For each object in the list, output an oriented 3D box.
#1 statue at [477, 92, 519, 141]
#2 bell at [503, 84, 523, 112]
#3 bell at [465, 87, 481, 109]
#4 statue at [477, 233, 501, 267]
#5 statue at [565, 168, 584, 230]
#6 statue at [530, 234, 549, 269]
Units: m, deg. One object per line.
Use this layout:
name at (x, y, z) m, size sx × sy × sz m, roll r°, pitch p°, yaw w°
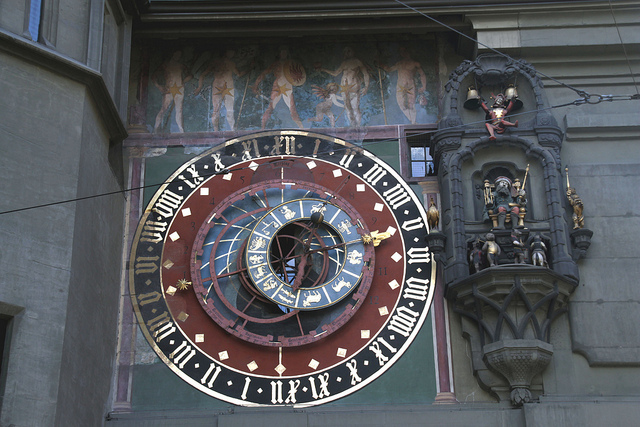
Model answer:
statue at (4.281, -2.393, 25.180) m, size 0.962 × 1.340 × 0.393 m, roll -4°, pitch -20°, yaw 9°
bell at (4.600, -2.843, 25.470) m, size 0.533 × 0.596 × 0.564 m, roll 3°, pitch -38°, yaw 1°
bell at (3.621, -2.844, 25.432) m, size 0.403 × 0.463 × 0.420 m, roll 1°, pitch -41°, yaw -2°
statue at (3.874, 0.846, 23.741) m, size 0.450 × 0.849 × 0.252 m, roll 2°, pitch -26°, yaw -9°
statue at (5.957, -0.288, 24.563) m, size 0.438 × 1.608 × 0.475 m, roll 3°, pitch -42°, yaw 8°
statue at (4.988, 0.863, 23.752) m, size 0.452 × 0.805 × 0.285 m, roll 5°, pitch -20°, yaw -15°
